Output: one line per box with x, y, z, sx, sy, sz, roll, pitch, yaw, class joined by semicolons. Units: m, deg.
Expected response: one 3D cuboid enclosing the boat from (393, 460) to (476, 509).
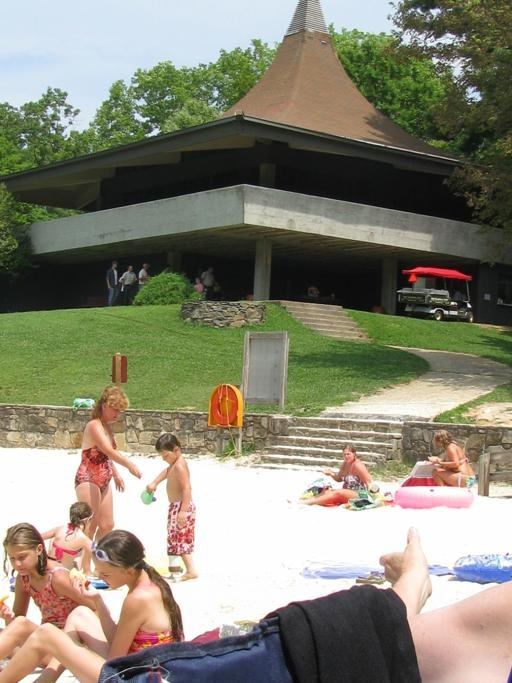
1.823;1.548;9.264;0.560;0.172;0.534;1;11;6;boat

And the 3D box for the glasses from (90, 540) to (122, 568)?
-0.668;0.933;3.910;0.079;0.035;0.100;29;0;44;glasses

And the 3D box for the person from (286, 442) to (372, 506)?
0.848;1.485;9.607;0.954;0.586;0.597;-3;-2;-35;person
